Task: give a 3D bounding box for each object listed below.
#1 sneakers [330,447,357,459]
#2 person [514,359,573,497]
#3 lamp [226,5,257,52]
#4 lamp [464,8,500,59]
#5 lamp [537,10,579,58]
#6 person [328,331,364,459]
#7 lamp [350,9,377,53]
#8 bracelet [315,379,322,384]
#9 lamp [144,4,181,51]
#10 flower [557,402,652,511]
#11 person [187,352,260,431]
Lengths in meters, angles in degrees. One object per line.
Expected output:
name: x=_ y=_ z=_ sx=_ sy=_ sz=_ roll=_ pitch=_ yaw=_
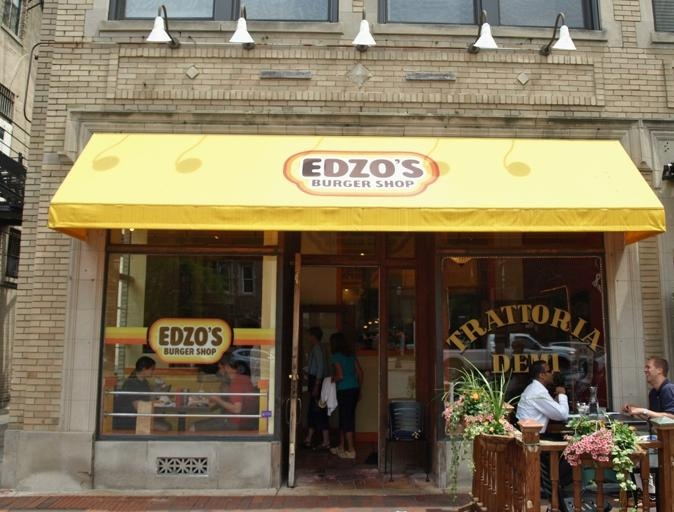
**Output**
sneakers: x=0.085 y=3.234 z=12.345 sx=0.373 sy=0.141 sz=0.151 roll=-3 pitch=-13 yaw=32
person: x=2.942 y=2.445 z=10.559 sx=0.826 sy=2.175 sz=0.719 roll=-1 pitch=20 yaw=15
lamp: x=-1.410 y=-3.429 z=11.418 sx=0.587 sy=0.689 sz=0.563 roll=2 pitch=-9 yaw=-3
lamp: x=2.174 y=-3.326 z=11.219 sx=0.387 sy=0.637 sz=0.739 roll=0 pitch=6 yaw=0
lamp: x=3.329 y=-3.328 z=11.434 sx=0.441 sy=0.691 sz=0.830 roll=0 pitch=3 yaw=-1
person: x=0.140 y=2.305 z=12.537 sx=0.488 sy=2.044 sz=0.605 roll=0 pitch=-11 yaw=-9
lamp: x=0.276 y=-3.377 z=11.352 sx=0.449 sy=0.606 sz=0.453 roll=0 pitch=-7 yaw=-4
bracelet: x=-0.303 y=2.134 z=12.749 sx=0.129 sy=0.089 sz=0.051 roll=4 pitch=-12 yaw=-29
lamp: x=-2.591 y=-3.397 z=11.233 sx=0.390 sy=0.623 sz=0.780 roll=1 pitch=-4 yaw=5
flower: x=2.958 y=2.203 z=8.423 sx=0.900 sy=0.945 sz=0.466 roll=-3 pitch=-36 yaw=15
person: x=-1.541 y=2.080 z=11.041 sx=1.090 sy=1.528 sz=0.775 roll=4 pitch=-8 yaw=3
